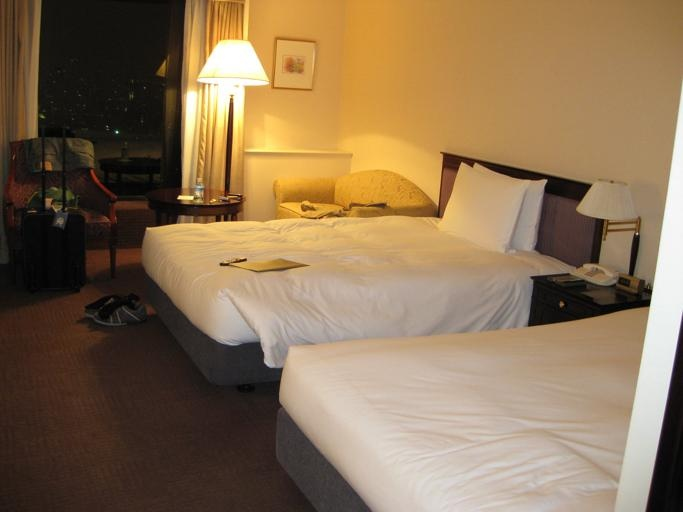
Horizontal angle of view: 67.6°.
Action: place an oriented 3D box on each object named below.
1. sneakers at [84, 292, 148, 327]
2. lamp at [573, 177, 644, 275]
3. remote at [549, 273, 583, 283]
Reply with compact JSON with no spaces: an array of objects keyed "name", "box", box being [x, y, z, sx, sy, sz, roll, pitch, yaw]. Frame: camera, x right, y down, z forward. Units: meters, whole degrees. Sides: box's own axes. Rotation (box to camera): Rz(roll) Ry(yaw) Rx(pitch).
[{"name":"sneakers","box":[-1.889,0.454,4.251,0.371,0.162,0.298,4,14,-6]},{"name":"lamp","box":[1.948,-0.211,3.684,0.455,0.646,0.387,-9,18,-39]},{"name":"remote","box":[1.638,0.171,3.730,0.105,0.025,0.104,-4,12,-20]}]
